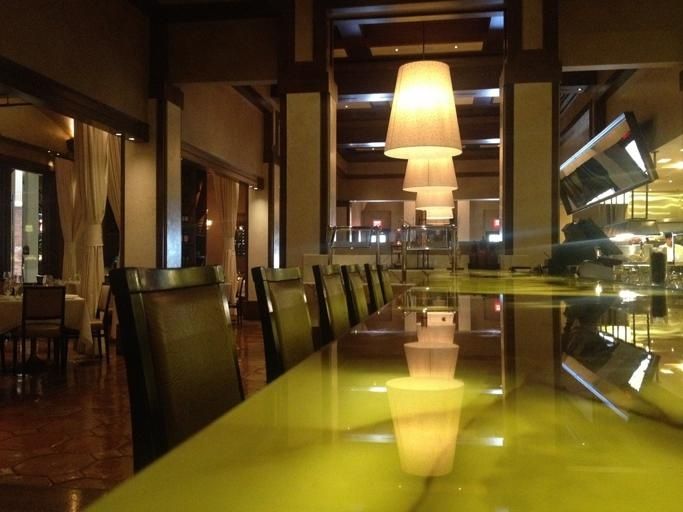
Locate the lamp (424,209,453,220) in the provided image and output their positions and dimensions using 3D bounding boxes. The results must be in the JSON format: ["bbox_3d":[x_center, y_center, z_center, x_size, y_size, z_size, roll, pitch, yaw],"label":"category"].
[{"bbox_3d":[1.762,-0.774,10.003,0.502,0.238,0.523,-1,-2,30],"label":"lamp"}]

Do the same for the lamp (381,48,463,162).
[{"bbox_3d":[0.551,-0.952,3.734,0.520,0.642,0.555,-5,-12,27],"label":"lamp"}]

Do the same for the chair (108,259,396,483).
[{"bbox_3d":[-0.174,0.169,1.276,0.365,0.688,0.376,1,2,16],"label":"chair"}]
